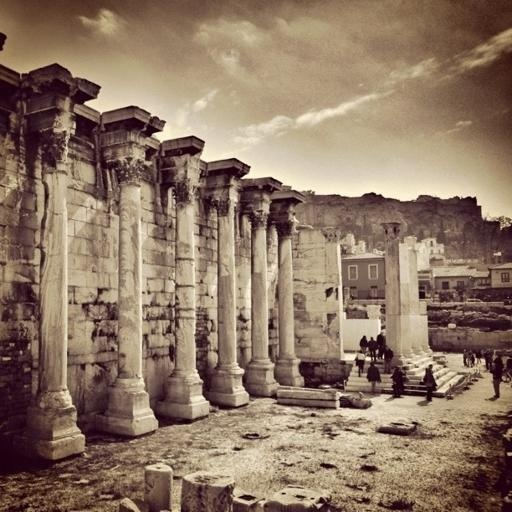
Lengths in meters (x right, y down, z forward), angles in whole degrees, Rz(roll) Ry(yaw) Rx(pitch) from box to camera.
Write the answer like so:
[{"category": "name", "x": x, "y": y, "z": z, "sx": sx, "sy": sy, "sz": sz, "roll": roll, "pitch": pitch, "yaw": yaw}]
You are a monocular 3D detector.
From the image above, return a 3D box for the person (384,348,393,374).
[{"category": "person", "x": 4.981, "y": 3.937, "z": 21.731, "sx": 0.323, "sy": 0.902, "sz": 0.593, "roll": -2, "pitch": -5, "yaw": 13}]

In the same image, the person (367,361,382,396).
[{"category": "person", "x": 4.224, "y": 4.305, "z": 20.712, "sx": 0.479, "sy": 1.038, "sz": 1.287, "roll": -2, "pitch": -6, "yaw": 11}]

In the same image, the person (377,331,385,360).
[{"category": "person", "x": 5.086, "y": 3.685, "z": 23.526, "sx": 0.311, "sy": 0.955, "sz": 1.175, "roll": -2, "pitch": -6, "yaw": 12}]

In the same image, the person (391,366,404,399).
[{"category": "person", "x": 4.815, "y": 4.253, "z": 19.590, "sx": 0.357, "sy": 0.943, "sz": 0.772, "roll": -2, "pitch": -6, "yaw": 14}]

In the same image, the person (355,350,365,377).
[{"category": "person", "x": 3.932, "y": 4.132, "z": 21.903, "sx": 0.332, "sy": 0.750, "sz": 1.039, "roll": -2, "pitch": -6, "yaw": 9}]
